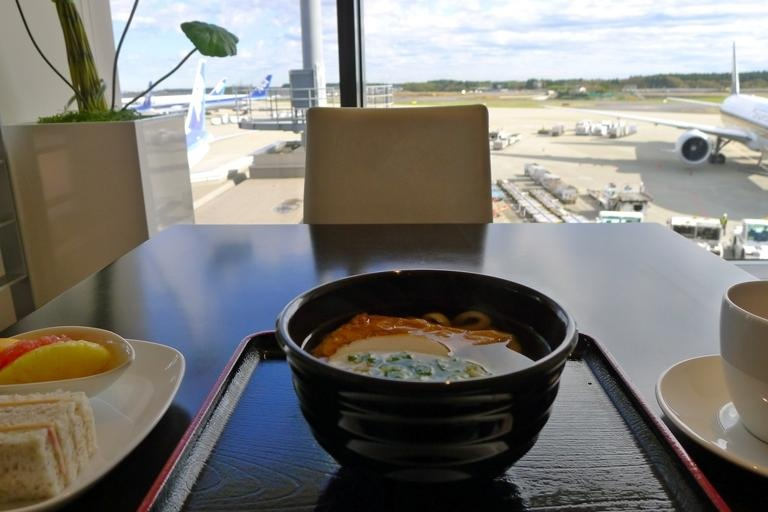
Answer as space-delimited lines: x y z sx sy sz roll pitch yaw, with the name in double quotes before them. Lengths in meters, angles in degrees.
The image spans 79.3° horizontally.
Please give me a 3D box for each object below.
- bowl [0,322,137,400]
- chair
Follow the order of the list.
"bowl" -0.309 0.078 0.458 0.087 0.031 0.088 3 18 -1
"chair" 0.056 -0.199 1.429 0.362 0.378 0.501 -2 -2 7
